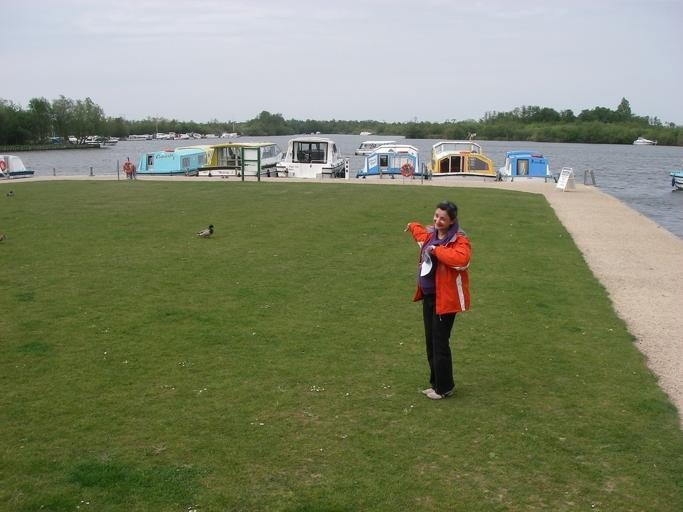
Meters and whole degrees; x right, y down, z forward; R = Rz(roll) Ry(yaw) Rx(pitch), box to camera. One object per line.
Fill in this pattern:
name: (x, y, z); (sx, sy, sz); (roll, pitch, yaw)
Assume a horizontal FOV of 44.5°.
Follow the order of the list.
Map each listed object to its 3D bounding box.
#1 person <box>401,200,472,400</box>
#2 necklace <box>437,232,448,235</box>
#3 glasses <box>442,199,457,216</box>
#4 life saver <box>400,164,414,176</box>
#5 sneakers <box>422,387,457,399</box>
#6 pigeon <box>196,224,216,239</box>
person: (1.558, 0.692, 12.892); (0.882, 3.118, 0.733); (-3, 12, 4)
necklace: (1.538, -0.347, 12.678); (0.081, 0.070, 0.076); (-5, 6, -12)
glasses: (1.633, -0.726, 12.630); (0.198, 0.226, 0.250); (3, 11, 13)
life saver: (3.793, -5.062, 48.275); (0.999, 0.954, 0.231); (1, -15, -8)
sneakers: (1.565, 2.177, 13.196); (0.540, 0.208, 0.175); (9, -15, -30)
pigeon: (-3.431, -0.623, 20.886); (0.392, 0.302, 0.538); (-4, 11, 0)
